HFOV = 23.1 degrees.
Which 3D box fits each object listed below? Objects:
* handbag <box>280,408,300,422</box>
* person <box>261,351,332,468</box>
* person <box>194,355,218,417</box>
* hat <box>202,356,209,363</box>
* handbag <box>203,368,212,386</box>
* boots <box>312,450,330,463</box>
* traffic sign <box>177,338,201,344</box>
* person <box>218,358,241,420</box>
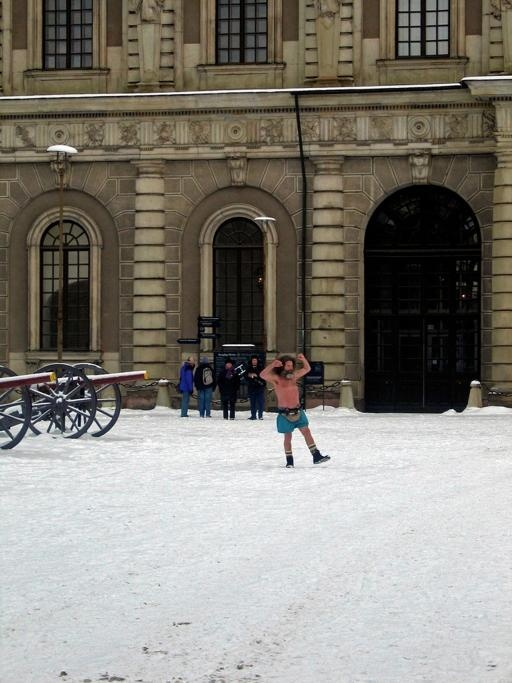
[{"bbox_3d":[0.414,0.923,15.628,0.204,0.141,0.167,-1,-5,-19],"label":"handbag"},{"bbox_3d":[0.470,0.851,16.160,0.785,1.337,2.258,-1,0,1],"label":"person"},{"bbox_3d":[-1.027,0.920,25.114,0.421,1.166,0.654,-1,0,0],"label":"person"},{"bbox_3d":[-1.019,0.364,25.159,0.114,0.165,0.164,1,-9,-5],"label":"hat"},{"bbox_3d":[-0.960,0.709,24.830,0.205,0.289,0.293,1,-8,3],"label":"handbag"},{"bbox_3d":[0.795,1.418,15.494,0.204,0.181,0.298,-1,0,3],"label":"boots"},{"bbox_3d":[-1.484,-0.002,27.466,0.480,0.145,0.548,-2,0,-4],"label":"traffic sign"},{"bbox_3d":[-0.529,0.924,24.391,0.391,1.121,1.089,-1,0,5],"label":"person"}]
